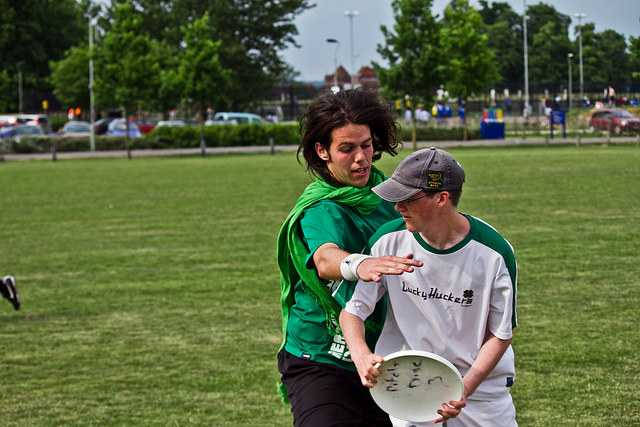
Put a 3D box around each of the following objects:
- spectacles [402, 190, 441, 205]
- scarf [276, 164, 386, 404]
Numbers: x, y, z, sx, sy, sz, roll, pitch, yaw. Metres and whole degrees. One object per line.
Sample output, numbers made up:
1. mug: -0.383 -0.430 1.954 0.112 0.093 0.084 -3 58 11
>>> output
1. spectacles: 0.896 -0.143 12.145 0.327 0.116 0.039 -1 5 -4
2. scarf: -0.162 0.602 12.767 0.688 1.851 1.417 15 14 42
